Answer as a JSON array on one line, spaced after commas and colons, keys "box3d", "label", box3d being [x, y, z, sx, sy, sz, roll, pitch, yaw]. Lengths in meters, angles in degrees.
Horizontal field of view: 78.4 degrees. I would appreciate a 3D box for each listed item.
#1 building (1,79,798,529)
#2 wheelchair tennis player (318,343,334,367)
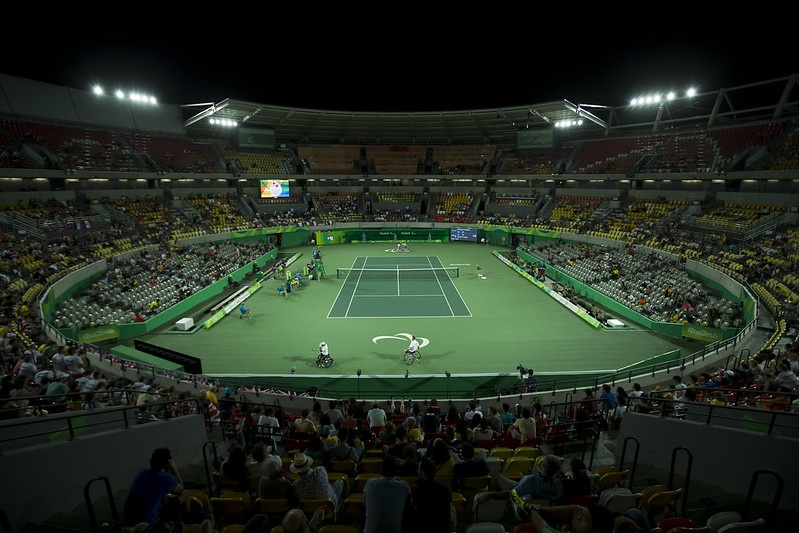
[{"box3d": [-0.014, 0.027, 29.723, 27.553, 6.269, 28.774, -4, 7, -10], "label": "building"}, {"box3d": [-3.934, 4.623, 25.740, 0.943, 1.219, 0.677, -1, 15, -8], "label": "wheelchair tennis player"}]
